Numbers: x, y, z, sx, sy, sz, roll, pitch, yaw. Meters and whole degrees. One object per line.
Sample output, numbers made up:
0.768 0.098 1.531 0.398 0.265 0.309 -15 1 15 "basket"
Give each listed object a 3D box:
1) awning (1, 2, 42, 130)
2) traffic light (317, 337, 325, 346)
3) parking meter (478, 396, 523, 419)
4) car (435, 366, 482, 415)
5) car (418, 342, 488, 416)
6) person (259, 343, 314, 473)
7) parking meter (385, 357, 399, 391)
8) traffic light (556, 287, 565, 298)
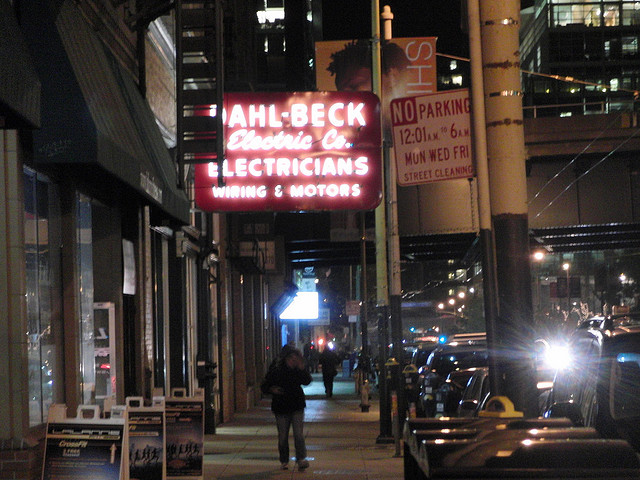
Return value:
-3.040 -1.882 8.787 0.367 1.458 0.994 0 -10 -19 "awning"
0.182 8.746 73.877 0.821 0.898 1.332 0 0 0 "traffic light"
1.596 1.469 7.664 0.363 0.187 1.210 -7 -12 11 "parking meter"
2.673 2.928 16.993 0.779 0.859 1.786 -1 -15 5 "car"
2.888 2.988 19.068 1.138 1.218 2.758 0 2 0 "car"
-0.506 2.704 14.146 0.781 2.053 0.805 -3 -9 -2 "person"
1.465 2.634 17.130 0.273 0.599 0.312 -6 -6 14 "parking meter"
14.451 3.048 51.859 0.416 0.403 1.764 -7 -12 13 "traffic light"
